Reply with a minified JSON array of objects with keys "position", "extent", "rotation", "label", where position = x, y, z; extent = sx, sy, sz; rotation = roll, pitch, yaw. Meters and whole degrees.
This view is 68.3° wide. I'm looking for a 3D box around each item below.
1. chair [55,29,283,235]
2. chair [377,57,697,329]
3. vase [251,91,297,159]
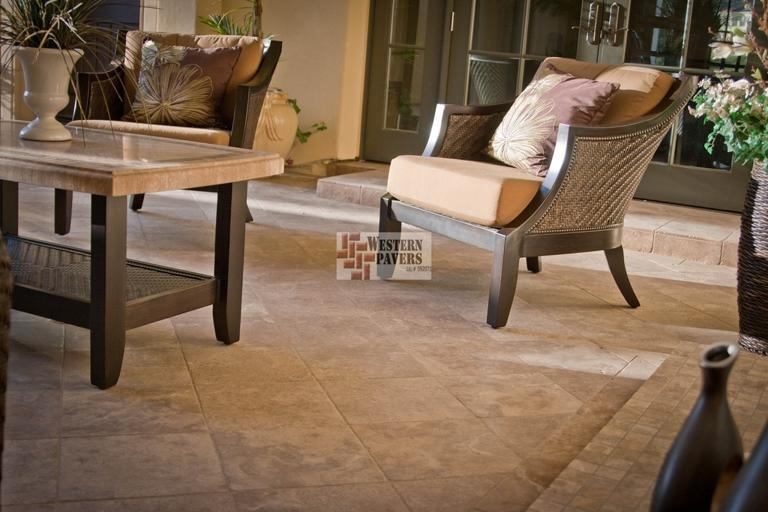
[{"position":[-1.288,-0.807,3.572],"extent":[1.330,1.078,1.256],"rotation":[10,15,22],"label":"chair"},{"position":[0.745,-0.432,2.928],"extent":[1.322,1.071,1.168],"rotation":[-15,24,-35],"label":"chair"},{"position":[-0.927,-1.185,5.194],"extent":[0.578,0.631,0.548],"rotation":[-5,19,-15],"label":"vase"}]
